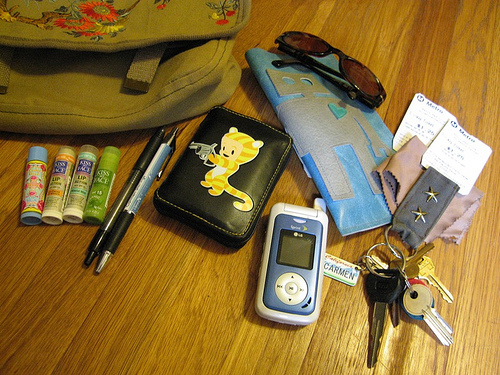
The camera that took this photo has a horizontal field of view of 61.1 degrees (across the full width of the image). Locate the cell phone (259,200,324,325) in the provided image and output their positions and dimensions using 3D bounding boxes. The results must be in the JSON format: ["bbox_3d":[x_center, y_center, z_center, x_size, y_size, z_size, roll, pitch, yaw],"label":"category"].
[{"bbox_3d":[0.091,0.137,0.861,0.128,0.065,0.282,12,63,2],"label":"cell phone"}]

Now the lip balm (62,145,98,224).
[{"bbox_3d":[-0.338,-0.009,0.860,0.033,0.042,0.157,5,67,0],"label":"lip balm"}]

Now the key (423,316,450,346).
[{"bbox_3d":[0.359,0.278,0.819,0.069,0.010,0.016,49,29,-4],"label":"key"}]

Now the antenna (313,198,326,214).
[{"bbox_3d":[0.150,0.037,0.880,0.025,0.007,0.025,7,73,-8],"label":"antenna"}]

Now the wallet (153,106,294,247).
[{"bbox_3d":[-0.045,-0.027,0.863,0.212,0.072,0.281,26,68,4],"label":"wallet"}]

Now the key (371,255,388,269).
[{"bbox_3d":[0.265,0.152,0.868,0.034,0.009,0.020,44,26,1],"label":"key"}]
